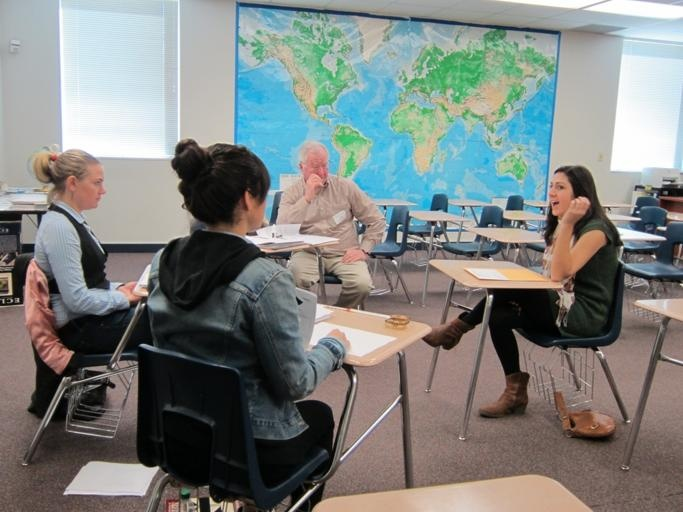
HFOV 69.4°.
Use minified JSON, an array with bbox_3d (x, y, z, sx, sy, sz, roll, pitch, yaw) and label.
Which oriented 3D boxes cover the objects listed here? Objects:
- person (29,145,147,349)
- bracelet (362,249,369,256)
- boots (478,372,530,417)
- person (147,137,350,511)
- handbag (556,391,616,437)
[{"bbox_3d":[-1.314,-0.037,2.622,0.422,1.031,0.520,-8,16,-37],"label":"person"},{"bbox_3d":[0.215,-0.037,4.210,0.052,0.031,0.063,0,4,-1],"label":"bracelet"},{"bbox_3d":[0.981,0.850,3.068,0.345,0.257,0.124,-2,7,-18],"label":"boots"},{"bbox_3d":[-0.319,0.204,1.596,0.644,1.122,0.398,4,13,9],"label":"person"},{"bbox_3d":[1.395,0.913,2.875,0.273,0.188,0.204,-4,16,32],"label":"handbag"}]
